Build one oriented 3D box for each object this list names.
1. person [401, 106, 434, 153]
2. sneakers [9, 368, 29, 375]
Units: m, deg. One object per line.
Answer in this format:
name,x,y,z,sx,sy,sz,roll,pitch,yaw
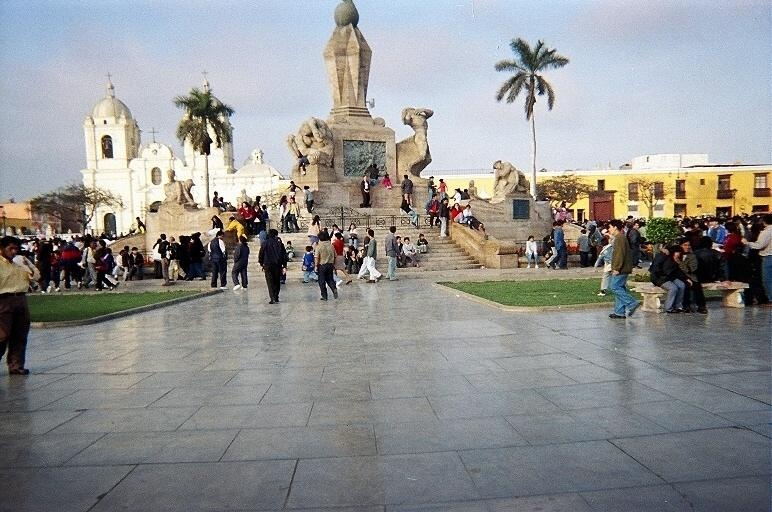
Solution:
person,1.698,-6.176,35.650,1.074,2.053,1.401,-8,14,-25
sneakers,-5.344,1.689,10.536,0.315,0.087,0.126,1,13,11
